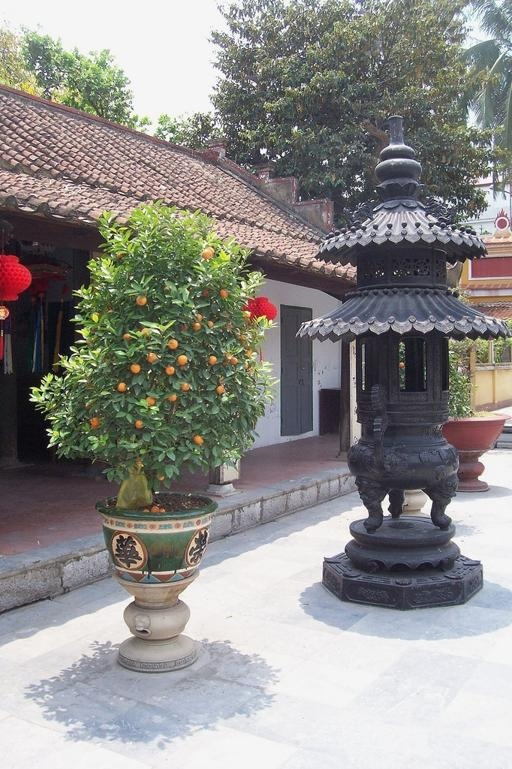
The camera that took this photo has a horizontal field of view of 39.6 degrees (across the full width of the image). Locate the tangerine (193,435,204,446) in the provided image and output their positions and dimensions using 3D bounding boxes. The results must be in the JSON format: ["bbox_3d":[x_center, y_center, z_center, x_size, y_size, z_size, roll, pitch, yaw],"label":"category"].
[{"bbox_3d":[-0.255,0.254,3.234,0.039,0.040,0.085,-1,0,29],"label":"tangerine"}]

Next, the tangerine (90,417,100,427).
[{"bbox_3d":[-0.726,0.176,3.225,0.040,0.049,0.046,-1,0,-16],"label":"tangerine"}]

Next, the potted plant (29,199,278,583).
[{"bbox_3d":[-0.711,-0.015,4.245,1.758,2.187,1.630,0,1,-19],"label":"potted plant"}]

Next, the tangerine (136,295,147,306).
[{"bbox_3d":[-0.509,-0.379,3.223,0.042,0.038,0.040,9,-7,29],"label":"tangerine"}]
